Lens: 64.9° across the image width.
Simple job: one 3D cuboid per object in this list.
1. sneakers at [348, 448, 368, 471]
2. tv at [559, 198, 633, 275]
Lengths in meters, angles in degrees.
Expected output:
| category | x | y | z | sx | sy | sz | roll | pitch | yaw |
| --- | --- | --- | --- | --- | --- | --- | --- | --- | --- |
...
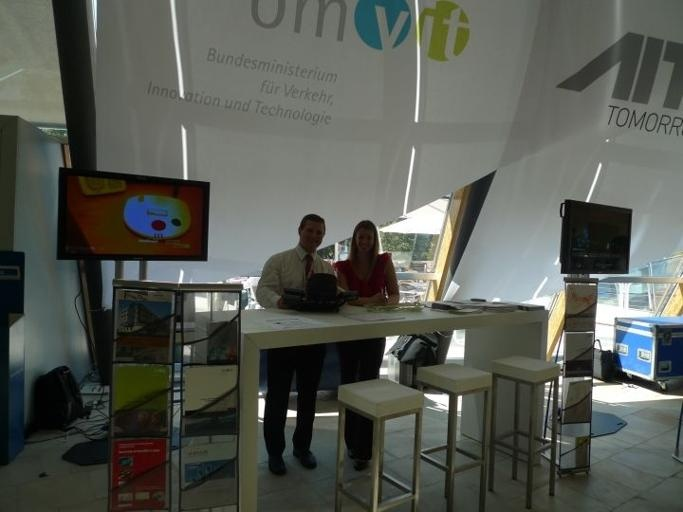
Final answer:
| category | x | y | z | sx | sy | sz | roll | pitch | yaw |
| --- | --- | --- | --- | --- | --- | --- | --- | --- | --- |
| sneakers | 0.143 | 1.731 | 4.589 | 0.120 | 0.233 | 0.134 | -14 | -11 | -28 |
| tv | 2.369 | -0.155 | 4.975 | 0.831 | 0.650 | 0.096 | 3 | 0 | -23 |
